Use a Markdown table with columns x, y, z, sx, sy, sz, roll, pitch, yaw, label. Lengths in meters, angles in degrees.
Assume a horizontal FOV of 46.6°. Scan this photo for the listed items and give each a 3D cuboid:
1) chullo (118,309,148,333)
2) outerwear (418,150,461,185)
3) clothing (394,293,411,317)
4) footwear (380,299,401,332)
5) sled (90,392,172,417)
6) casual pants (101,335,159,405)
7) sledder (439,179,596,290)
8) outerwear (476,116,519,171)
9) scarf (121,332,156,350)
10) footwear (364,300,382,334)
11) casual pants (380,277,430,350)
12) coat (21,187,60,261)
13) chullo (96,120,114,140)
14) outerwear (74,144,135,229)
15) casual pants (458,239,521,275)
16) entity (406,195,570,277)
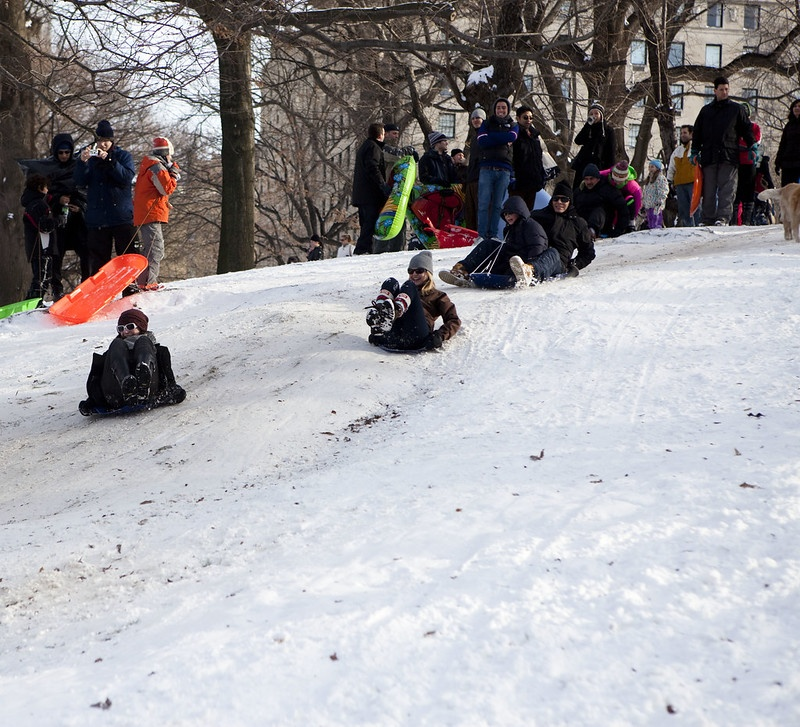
| x | y | z | sx | sy | sz | roll | pitch | yaw | label |
| --- | --- | --- | --- | --- | --- | --- | --- | --- | --- |
| -2.377 | -0.375 | 8.321 | 0.217 | 0.241 | 0.197 | -3 | 46 | 5 | chullo |
| 0.665 | -2.984 | 14.670 | 0.556 | 0.699 | 0.783 | 0 | 11 | 28 | outerwear |
| 0.039 | -0.540 | 8.513 | 0.152 | 0.086 | 0.191 | 1 | 47 | 22 | clothing |
| -0.086 | -0.463 | 8.413 | 0.121 | 0.340 | 0.154 | 34 | 36 | 22 | footwear |
| -2.320 | 0.387 | 7.961 | 0.481 | 0.077 | 0.293 | -16 | -12 | -9 | sled |
| -2.303 | 0.022 | 7.927 | 0.365 | 0.315 | 0.661 | -3 | 32 | -7 | casual pants |
| 1.388 | -1.394 | 10.775 | 1.055 | 0.926 | 1.835 | 6 | 10 | 42 | sledder |
| 1.228 | -2.791 | 11.758 | 0.490 | 0.672 | 0.342 | -1 | 10 | 4 | outerwear |
| -2.267 | -0.225 | 8.111 | 0.188 | 0.100 | 0.222 | -11 | 5 | 8 | scarf |
| -0.239 | -0.413 | 8.459 | 0.157 | 0.323 | 0.146 | 0 | -3 | -3 | footwear |
| 0.068 | -0.447 | 8.538 | 0.349 | 0.584 | 0.195 | -23 | -18 | 36 | casual pants |
| -4.582 | -1.800 | 11.895 | 0.408 | 0.905 | 0.726 | -19 | 33 | -37 | coat |
| -3.629 | -2.859 | 11.370 | 0.197 | 0.271 | 0.512 | -5 | 10 | -18 | chullo |
| -3.586 | -2.138 | 11.257 | 0.666 | 0.973 | 0.339 | -1 | 10 | 3 | outerwear |
| 1.020 | -1.208 | 10.538 | 0.462 | 0.219 | 0.547 | 5 | 24 | 18 | casual pants |
| 1.072 | -1.312 | 10.402 | 0.947 | 0.826 | 1.251 | 2 | 0 | 42 | entity |
